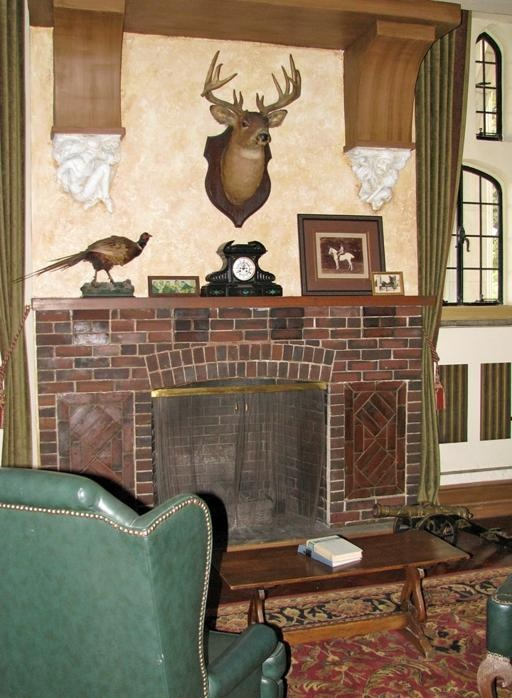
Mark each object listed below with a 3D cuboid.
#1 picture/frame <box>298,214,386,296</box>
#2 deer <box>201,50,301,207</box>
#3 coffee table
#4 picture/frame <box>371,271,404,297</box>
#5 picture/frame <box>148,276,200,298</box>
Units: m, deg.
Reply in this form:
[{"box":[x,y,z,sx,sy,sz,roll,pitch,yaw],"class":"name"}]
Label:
[{"box":[0.449,-0.507,4.591,0.656,0.474,0.067,0,0,-13],"class":"picture/frame"},{"box":[-0.038,-1.110,4.335,0.561,0.750,0.300,-3,20,-20],"class":"deer"},{"box":[0.355,1.073,3.546,0.979,0.404,0.395,-3,5,-14],"class":"coffee table"},{"box":[0.713,-0.358,4.605,0.163,0.116,0.012,3,-14,-20],"class":"picture/frame"},{"box":[-0.413,-0.324,4.289,0.267,0.096,0.125,0,12,-9],"class":"picture/frame"}]
